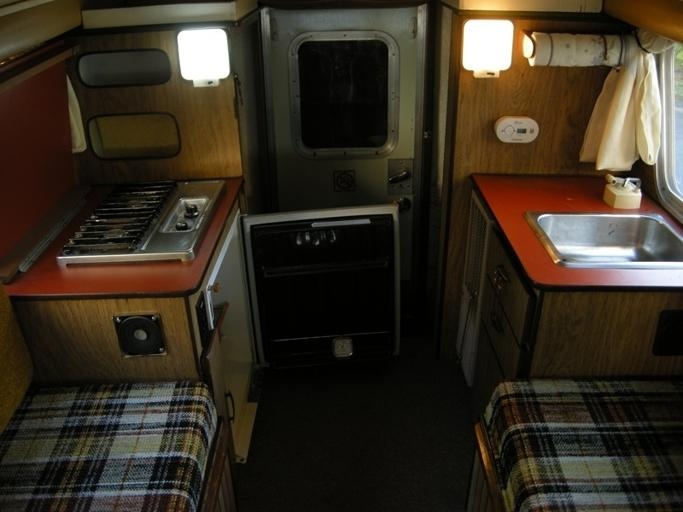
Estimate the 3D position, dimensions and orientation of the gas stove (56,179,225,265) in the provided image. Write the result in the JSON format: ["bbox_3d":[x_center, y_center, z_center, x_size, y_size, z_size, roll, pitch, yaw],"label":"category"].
[{"bbox_3d":[-0.952,-0.151,2.580,0.401,0.593,0.102,-1,-51,0],"label":"gas stove"}]

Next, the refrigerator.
[{"bbox_3d":[-0.598,0.439,3.040,1.505,1.595,1.045,-3,-46,-2],"label":"refrigerator"}]
